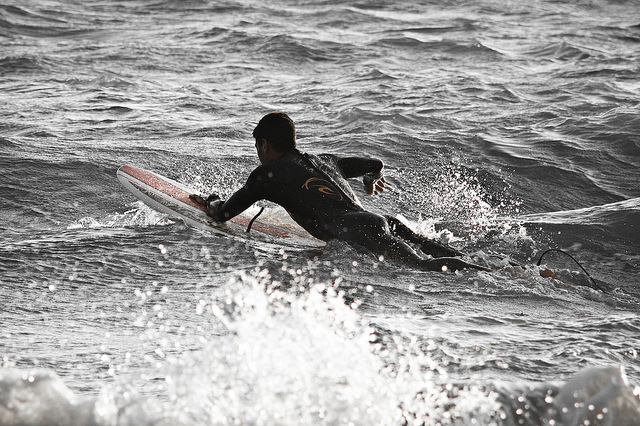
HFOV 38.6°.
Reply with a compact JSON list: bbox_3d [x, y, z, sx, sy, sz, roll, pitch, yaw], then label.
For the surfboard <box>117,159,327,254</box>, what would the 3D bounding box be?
[{"bbox_3d":[-1.357,0.089,12.780,3.894,1.057,0.440,21,105,24],"label":"surfboard"}]
